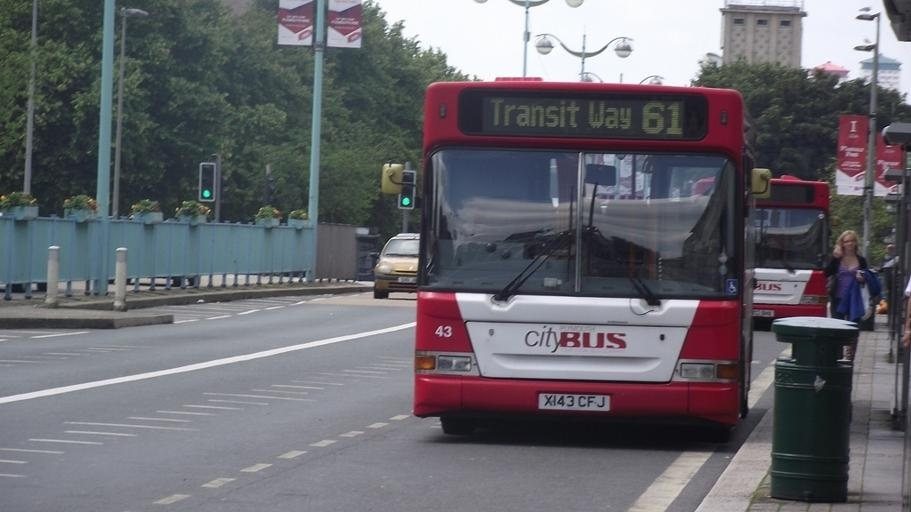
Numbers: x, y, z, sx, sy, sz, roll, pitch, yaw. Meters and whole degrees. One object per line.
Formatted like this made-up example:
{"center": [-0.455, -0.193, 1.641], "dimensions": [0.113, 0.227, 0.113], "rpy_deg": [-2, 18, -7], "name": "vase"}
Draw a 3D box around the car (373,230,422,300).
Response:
{"center": [-1.883, 0.390, 49.380], "dimensions": [1.415, 2.039, 2.490], "rpy_deg": [-1, 2, -4], "name": "car"}
